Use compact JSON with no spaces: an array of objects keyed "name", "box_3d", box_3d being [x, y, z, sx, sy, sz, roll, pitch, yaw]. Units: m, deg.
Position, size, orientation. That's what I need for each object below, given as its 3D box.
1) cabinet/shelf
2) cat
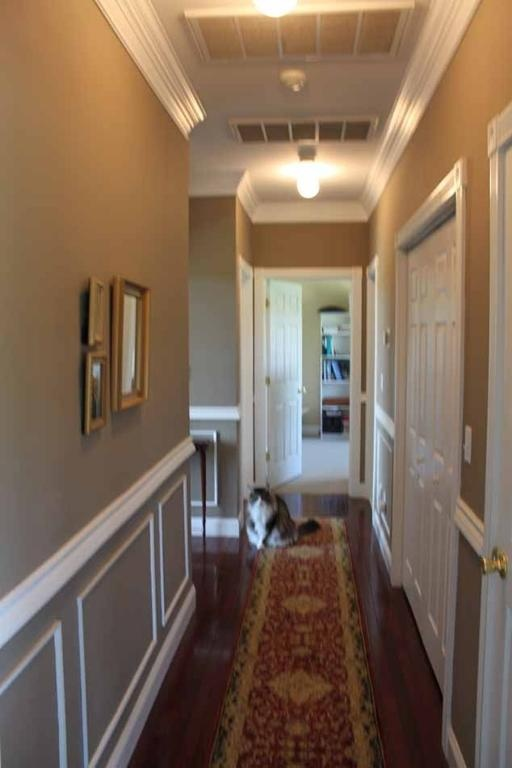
[{"name":"cabinet/shelf","box_3d":[1.228,-0.189,8.015,0.479,1.958,0.620,0,2,5]},{"name":"cat","box_3d":[0.137,1.005,3.667,0.317,0.496,0.519,-19,-18,20]}]
